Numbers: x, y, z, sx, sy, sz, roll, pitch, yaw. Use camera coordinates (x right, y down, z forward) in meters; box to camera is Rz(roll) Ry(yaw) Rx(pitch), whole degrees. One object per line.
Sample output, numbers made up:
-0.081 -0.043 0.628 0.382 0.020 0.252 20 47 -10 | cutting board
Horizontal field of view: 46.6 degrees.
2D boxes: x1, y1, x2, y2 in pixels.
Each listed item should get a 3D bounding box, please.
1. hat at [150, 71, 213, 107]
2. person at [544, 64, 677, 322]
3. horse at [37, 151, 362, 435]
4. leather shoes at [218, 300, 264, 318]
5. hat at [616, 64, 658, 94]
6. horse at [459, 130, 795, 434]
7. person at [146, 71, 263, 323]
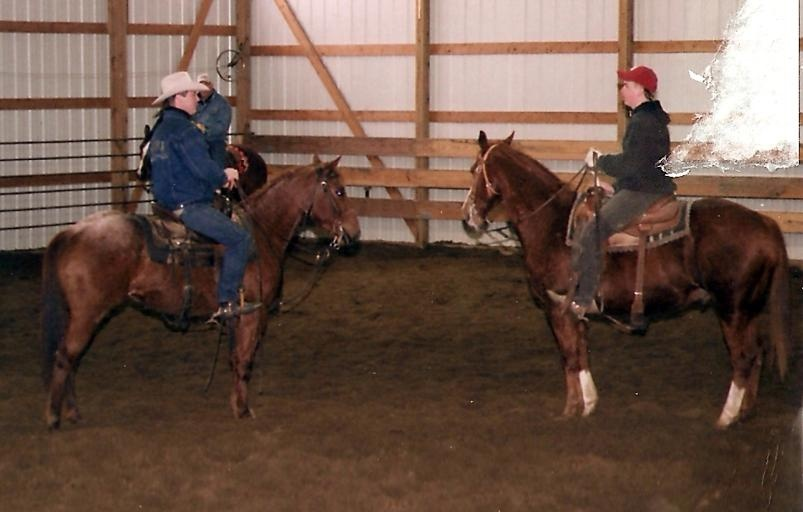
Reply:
-2.167 -1.664 9.064 0.646 0.276 0.523 -28 13 -10 | hat
2.179 -0.641 9.301 1.058 2.417 0.386 -5 15 -17 | person
-2.037 0.340 9.461 3.126 2.740 0.904 -1 9 -15 | horse
-1.602 0.508 9.217 0.513 0.162 0.173 -7 46 -15 | leather shoes
2.330 -1.762 9.257 0.374 0.257 0.282 3 17 12 | hat
2.516 0.361 10.135 2.762 2.640 0.973 2 9 19 | horse
-1.986 -0.566 9.179 0.729 2.424 1.059 -12 18 -39 | person
